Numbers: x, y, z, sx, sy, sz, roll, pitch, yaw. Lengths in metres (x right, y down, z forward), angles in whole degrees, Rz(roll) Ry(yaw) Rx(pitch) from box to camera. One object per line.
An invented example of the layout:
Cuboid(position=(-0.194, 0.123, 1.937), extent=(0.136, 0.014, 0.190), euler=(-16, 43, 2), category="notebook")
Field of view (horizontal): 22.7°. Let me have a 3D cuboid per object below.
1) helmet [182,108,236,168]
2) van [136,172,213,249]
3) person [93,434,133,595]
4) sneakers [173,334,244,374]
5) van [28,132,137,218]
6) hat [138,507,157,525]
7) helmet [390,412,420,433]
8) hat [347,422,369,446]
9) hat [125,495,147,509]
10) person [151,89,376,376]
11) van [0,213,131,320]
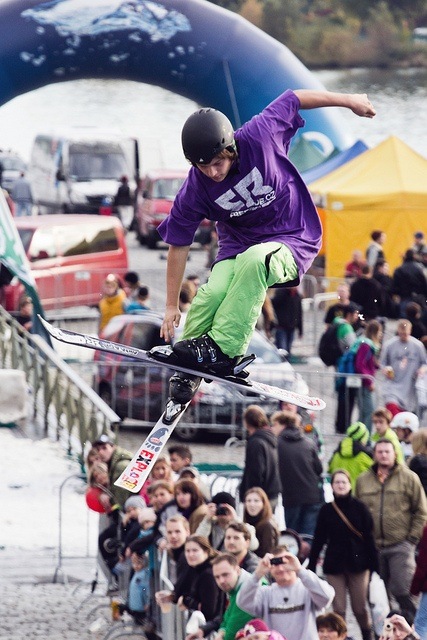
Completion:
Cuboid(position=(-0.045, -1.122, 6.292), extent=(0.321, 0.323, 0.415), euler=(0, 22, 8), category="helmet")
Cuboid(position=(-0.831, -2.524, 23.461), extent=(1.549, 1.478, 2.893), euler=(1, 2, -5), category="van")
Cuboid(position=(-0.881, 1.613, 9.198), extent=(0.226, 1.166, 0.336), euler=(20, -17, -41), category="person")
Cuboid(position=(-0.054, 0.186, 6.557), extent=(0.441, 0.211, 0.181), euler=(12, 38, -19), category="sneakers")
Cuboid(position=(-1.655, -1.887, 13.571), extent=(0.891, 1.003, 2.222), euler=(-1, 2, -9), category="van")
Cuboid(position=(-0.534, 1.578, 8.584), extent=(0.119, 0.109, 0.139), euler=(-2, 9, 2), category="hat")
Cuboid(position=(1.779, 0.952, 9.947), extent=(0.256, 0.134, 0.159), euler=(10, 33, 7), category="helmet")
Cuboid(position=(1.301, 1.024, 9.494), extent=(0.178, 0.206, 0.209), euler=(4, 26, 16), category="hat")
Cuboid(position=(-0.652, 1.503, 8.831), extent=(0.114, 0.133, 0.126), euler=(-9, 44, -5), category="hat")
Cuboid(position=(0.197, -0.564, 6.543), extent=(1.062, 1.767, 0.741), euler=(2, 8, -3), category="person")
Cuboid(position=(-2.363, -0.908, 16.300), extent=(1.119, 1.068, 2.080), euler=(1, 2, 38), category="van")
